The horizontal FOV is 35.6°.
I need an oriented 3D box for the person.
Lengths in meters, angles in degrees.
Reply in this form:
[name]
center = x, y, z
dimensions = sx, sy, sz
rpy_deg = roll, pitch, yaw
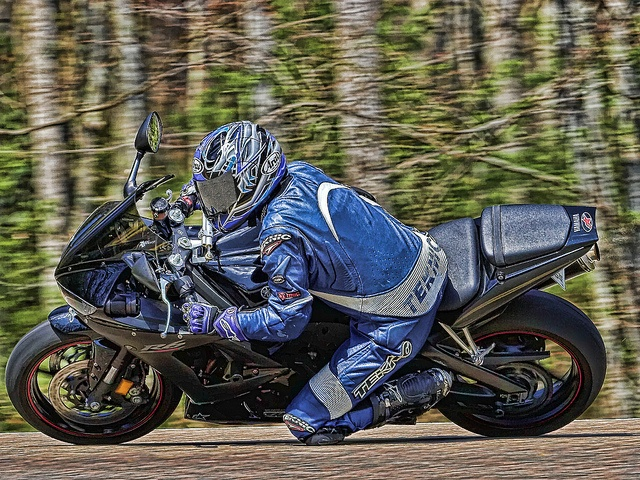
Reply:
[person]
center = 0.047, 0.344, 7.609
dimensions = 1.841, 2.465, 1.113
rpy_deg = -8, 30, 6

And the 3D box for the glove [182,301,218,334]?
[glove]
center = -0.926, 0.573, 7.495
dimensions = 0.366, 0.189, 0.113
rpy_deg = 16, -19, -7
